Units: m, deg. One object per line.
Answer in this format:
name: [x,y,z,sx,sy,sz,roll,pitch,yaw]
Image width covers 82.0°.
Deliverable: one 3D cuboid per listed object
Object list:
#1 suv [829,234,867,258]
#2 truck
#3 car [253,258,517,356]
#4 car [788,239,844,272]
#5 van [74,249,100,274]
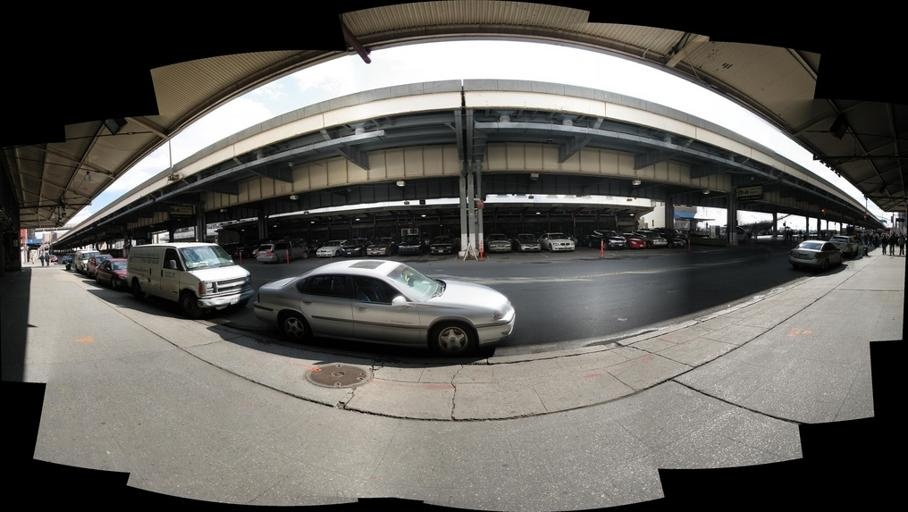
suv: [21.623,-0.568,28.570,2.780,0.865,1.148,-14,12,-32]
truck: [-8.895,0.564,17.504,4.411,1.630,2.005,10,8,25]
car: [-1.798,1.465,14.631,6.653,1.809,2.768,1,15,5]
car: [15.710,-0.101,22.394,2.818,0.852,1.115,-17,14,-29]
van: [-19.825,0.186,28.722,1.526,1.356,2.791,0,0,-44]
